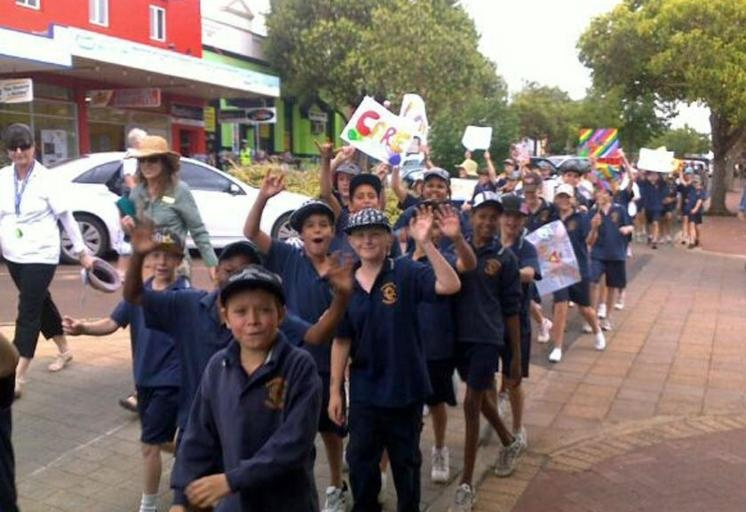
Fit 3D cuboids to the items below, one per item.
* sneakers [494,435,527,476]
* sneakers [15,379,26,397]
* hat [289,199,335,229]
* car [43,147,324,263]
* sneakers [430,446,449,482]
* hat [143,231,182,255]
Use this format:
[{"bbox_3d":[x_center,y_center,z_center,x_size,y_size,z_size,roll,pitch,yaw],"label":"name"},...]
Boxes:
[{"bbox_3d":[1.215,1.801,5.709,0.143,0.165,0.416,-10,30,48],"label":"sneakers"},{"bbox_3d":[-3.639,1.360,6.530,0.057,0.152,0.254,-2,11,-19],"label":"sneakers"},{"bbox_3d":[-0.511,-0.318,5.039,0.378,0.215,0.369,-15,2,-30],"label":"hat"},{"bbox_3d":[-3.509,-1.328,12.757,5.152,1.853,2.225,-6,7,-22],"label":"car"},{"bbox_3d":[0.582,1.812,5.438,0.106,0.137,0.332,0,3,4],"label":"sneakers"},{"bbox_3d":[-1.531,-0.056,4.705,0.180,0.163,0.303,14,-3,8],"label":"hat"}]
